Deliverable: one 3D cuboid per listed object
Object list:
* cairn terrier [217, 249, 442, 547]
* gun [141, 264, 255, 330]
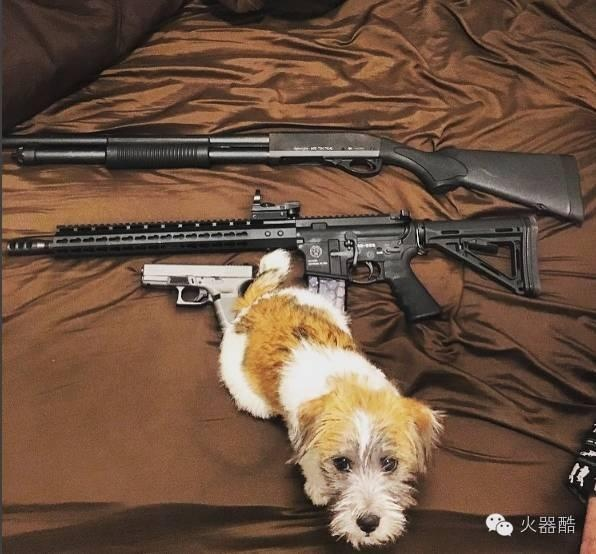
[{"bbox_3d":[0.089,0.360,2.124,0.493,0.872,0.471,-33,-9,22],"label":"cairn terrier"},{"bbox_3d":[-0.345,0.068,2.074,0.422,0.222,0.077,3,-7,-41],"label":"gun"}]
